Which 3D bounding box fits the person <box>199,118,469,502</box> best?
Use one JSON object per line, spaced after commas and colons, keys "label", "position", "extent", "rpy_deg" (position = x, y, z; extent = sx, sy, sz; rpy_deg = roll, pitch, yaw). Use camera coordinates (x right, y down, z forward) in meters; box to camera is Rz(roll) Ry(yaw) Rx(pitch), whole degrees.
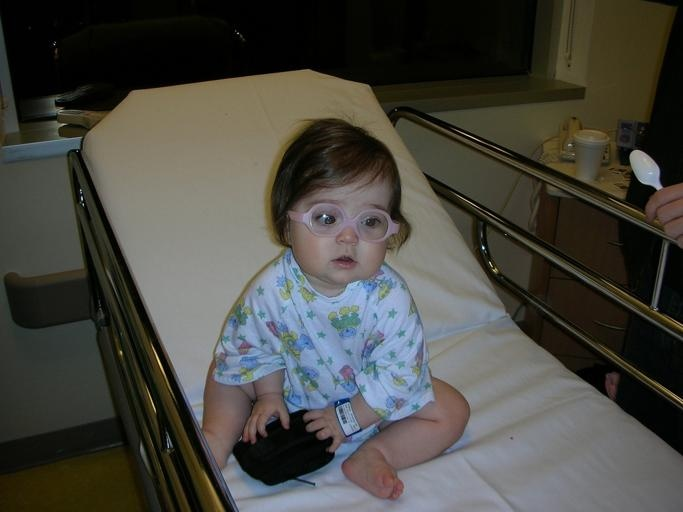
{"label": "person", "position": [-0.044, 0.141, 1.187], "extent": [0.614, 0.788, 0.525], "rpy_deg": [-2, 25, -1]}

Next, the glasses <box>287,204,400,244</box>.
{"label": "glasses", "position": [0.004, -0.067, 1.050], "extent": [0.226, 0.081, 0.042], "rpy_deg": [-2, 27, 3]}
